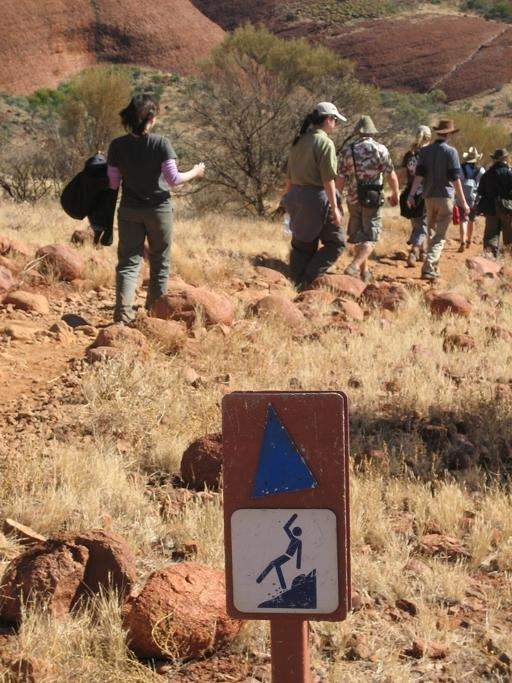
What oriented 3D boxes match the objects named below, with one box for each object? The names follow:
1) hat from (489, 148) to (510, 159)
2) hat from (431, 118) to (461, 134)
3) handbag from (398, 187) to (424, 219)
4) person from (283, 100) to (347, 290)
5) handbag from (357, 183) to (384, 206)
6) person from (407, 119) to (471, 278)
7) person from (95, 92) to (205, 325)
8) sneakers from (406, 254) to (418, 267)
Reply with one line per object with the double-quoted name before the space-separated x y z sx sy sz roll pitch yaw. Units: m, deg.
"hat" 3.129 -2.343 10.220 0.241 0.111 0.281 4 7 15
"hat" 2.067 -2.331 8.804 0.214 0.169 0.370 4 13 9
"handbag" 1.914 -1.619 9.729 0.295 0.404 0.169 8 -4 -3
"person" 0.557 -1.310 7.660 0.599 1.787 0.995 3 13 5
"handbag" 1.207 -1.536 8.426 0.241 0.245 0.128 0 3 -1
"person" 2.152 -1.679 9.452 0.679 1.819 1.440 5 13 14
"person" -0.813 -0.978 6.126 0.533 1.682 0.647 -9 17 -40
"sneakers" 1.973 -1.004 10.062 0.098 0.174 0.170 1 44 20
